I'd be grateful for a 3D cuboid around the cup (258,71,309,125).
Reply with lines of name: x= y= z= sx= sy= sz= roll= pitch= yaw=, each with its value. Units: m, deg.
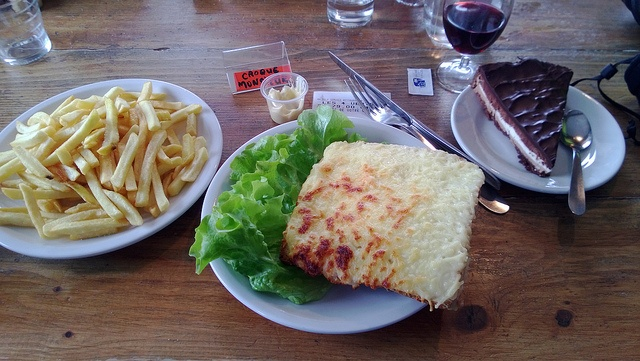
cup: x=-0.243 y=-0.598 z=3.485 sx=0.413 sy=0.282 sz=0.374 roll=-8 pitch=56 yaw=-3
